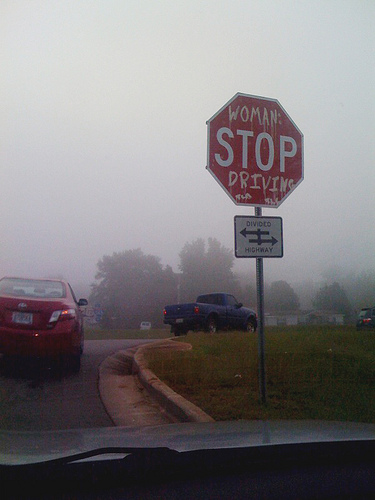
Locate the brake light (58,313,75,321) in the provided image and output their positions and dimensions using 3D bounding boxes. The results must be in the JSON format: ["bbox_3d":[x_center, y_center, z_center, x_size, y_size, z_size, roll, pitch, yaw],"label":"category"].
[{"bbox_3d":[-1.804,0.993,7.871,0.071,0.096,0.339,-3,-3,23],"label":"brake light"}]

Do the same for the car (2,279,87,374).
[{"bbox_3d":[-2.432,1.103,9.146,1.504,1.644,3.322,1,-5,-7],"label":"car"}]

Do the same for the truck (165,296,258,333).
[{"bbox_3d":[0.889,2.238,17.976,2.643,1.372,1.473,3,-6,-40],"label":"truck"}]

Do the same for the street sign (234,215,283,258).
[{"bbox_3d":[0.734,-0.134,5.658,0.355,0.353,0.054,2,-7,-25],"label":"street sign"}]

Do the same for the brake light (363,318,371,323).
[{"bbox_3d":[8.662,3.390,25.468,0.122,0.208,0.379,0,-3,-34],"label":"brake light"}]

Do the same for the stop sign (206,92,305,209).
[{"bbox_3d":[0.712,-1.107,5.944,1.430,1.977,0.055,2,-11,-28],"label":"stop sign"}]

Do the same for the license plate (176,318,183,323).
[{"bbox_3d":[-0.271,2.295,17.261,0.053,0.160,0.391,0,-3,-29],"label":"license plate"}]
